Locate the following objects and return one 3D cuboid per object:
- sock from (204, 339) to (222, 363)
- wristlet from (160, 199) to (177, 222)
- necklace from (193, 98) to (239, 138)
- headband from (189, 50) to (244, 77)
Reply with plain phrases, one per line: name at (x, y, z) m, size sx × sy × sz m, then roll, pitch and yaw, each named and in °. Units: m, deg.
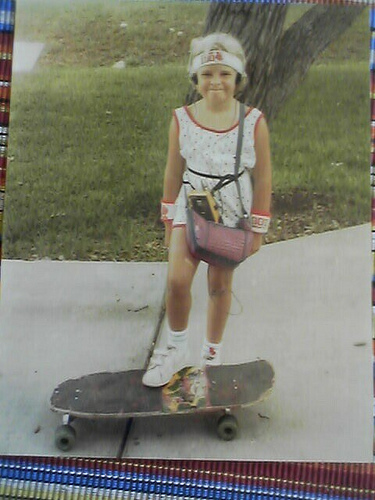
sock at (0.152, 0.631, 6.992) m, size 0.081 × 0.143 × 0.125 m, roll 0°, pitch 3°, yaw -2°
wristlet at (-0.117, -0.225, 6.946) m, size 0.078 × 0.137 × 0.082 m, roll 5°, pitch 1°, yaw 11°
necklace at (0.178, -0.825, 6.910) m, size 0.344 × 0.303 × 0.065 m, roll -8°, pitch 1°, yaw -18°
headband at (0.177, -1.113, 6.918) m, size 0.325 × 0.166 × 0.046 m, roll 7°, pitch 17°, yaw 4°
